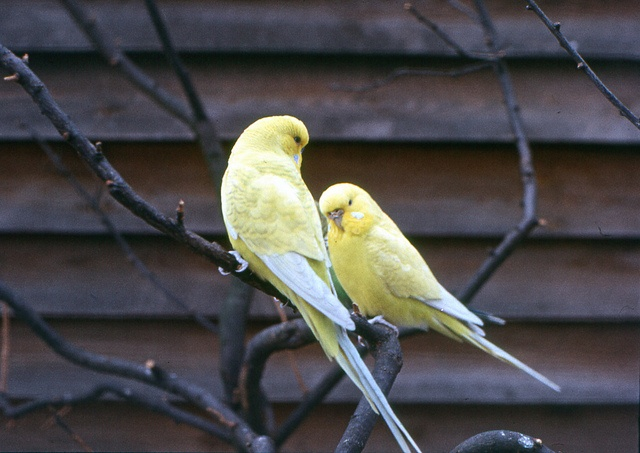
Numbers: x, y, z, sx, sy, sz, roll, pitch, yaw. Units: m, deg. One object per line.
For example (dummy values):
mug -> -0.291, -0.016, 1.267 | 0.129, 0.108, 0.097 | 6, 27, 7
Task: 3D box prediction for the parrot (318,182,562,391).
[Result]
parrot -> 0.389, 0.183, 4.815 | 0.992, 0.404, 0.242 | 19, -3, -23
